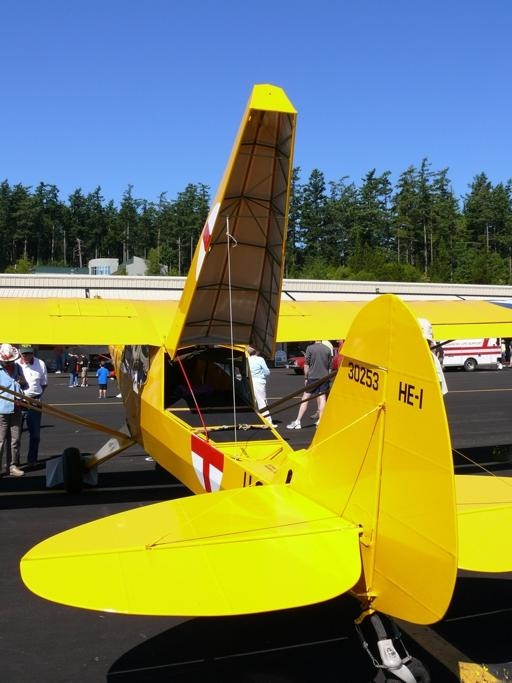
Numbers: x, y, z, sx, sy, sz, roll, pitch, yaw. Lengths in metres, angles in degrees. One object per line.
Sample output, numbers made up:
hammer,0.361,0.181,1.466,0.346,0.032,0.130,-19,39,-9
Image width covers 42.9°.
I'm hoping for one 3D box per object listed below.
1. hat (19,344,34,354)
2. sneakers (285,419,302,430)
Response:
hat,-3.078,0.107,8.793,0.190,0.087,0.284,2,13,-2
sneakers,0.725,1.545,12.192,0.140,0.158,0.373,2,-2,-29
